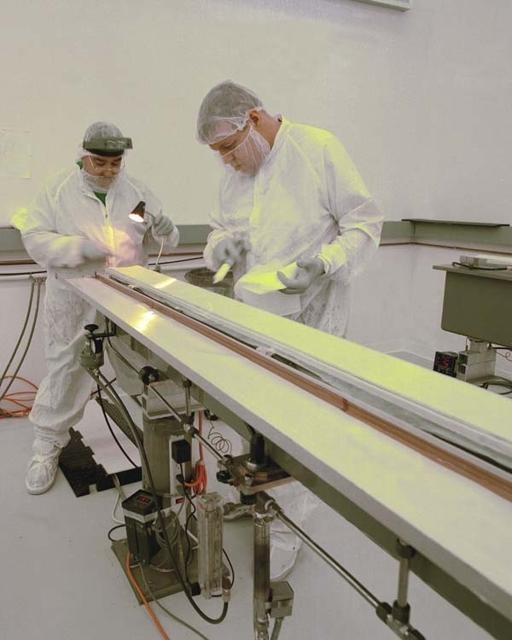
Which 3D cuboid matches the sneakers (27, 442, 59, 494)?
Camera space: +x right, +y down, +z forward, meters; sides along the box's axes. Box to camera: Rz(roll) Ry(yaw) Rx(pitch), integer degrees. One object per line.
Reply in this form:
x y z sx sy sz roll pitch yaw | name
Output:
-0.781 0.547 1.937 0.078 0.086 0.219 4 13 -16 | sneakers

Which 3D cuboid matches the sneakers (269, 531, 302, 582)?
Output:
0.094 0.651 1.475 0.040 0.098 0.135 -15 -5 6 | sneakers

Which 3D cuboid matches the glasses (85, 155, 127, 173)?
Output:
-0.551 -0.558 1.885 0.140 0.070 0.140 -6 13 -13 | glasses

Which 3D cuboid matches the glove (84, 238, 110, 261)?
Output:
-0.626 -0.274 2.037 0.111 0.091 0.084 -11 15 -30 | glove

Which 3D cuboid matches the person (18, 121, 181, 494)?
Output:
-0.626 -0.080 2.051 0.690 1.288 0.451 -9 15 -23 | person
